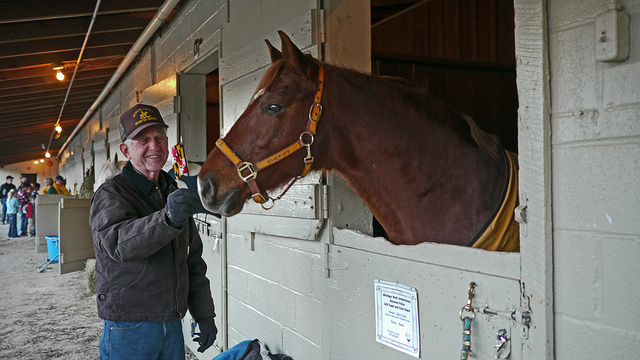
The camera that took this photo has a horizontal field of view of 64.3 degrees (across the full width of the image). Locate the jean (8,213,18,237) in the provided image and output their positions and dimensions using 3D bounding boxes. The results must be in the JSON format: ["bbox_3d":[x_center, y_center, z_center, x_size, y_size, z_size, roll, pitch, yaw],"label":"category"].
[{"bbox_3d":[-8.956,1.316,14.866,0.246,0.726,0.697,1,-1,-31],"label":"jean"}]

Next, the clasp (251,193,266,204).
[{"bbox_3d":[-0.452,0.138,3.741,0.087,0.035,0.063,16,-12,-20],"label":"clasp"}]

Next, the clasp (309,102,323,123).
[{"bbox_3d":[-0.023,-0.497,3.699,0.096,0.139,0.042,17,8,-9],"label":"clasp"}]

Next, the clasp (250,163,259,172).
[{"bbox_3d":[-0.469,-0.087,3.674,0.043,0.042,0.012,-13,4,26],"label":"clasp"}]

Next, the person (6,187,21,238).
[{"bbox_3d":[-9.019,0.992,15.035,0.344,1.381,1.032,2,-2,-32],"label":"person"}]

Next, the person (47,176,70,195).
[{"bbox_3d":[-7.114,0.226,13.871,0.276,0.734,0.553,-1,-1,-13],"label":"person"}]

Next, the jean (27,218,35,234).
[{"bbox_3d":[-8.714,1.389,15.393,0.133,0.476,0.592,2,-1,-32],"label":"jean"}]

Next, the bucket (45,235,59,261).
[{"bbox_3d":[-5.308,1.369,10.108,0.200,0.562,1.401,1,-1,-28],"label":"bucket"}]

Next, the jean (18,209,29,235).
[{"bbox_3d":[-9.153,1.280,15.731,0.289,0.780,0.859,1,-1,-30],"label":"jean"}]

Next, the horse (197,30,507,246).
[{"bbox_3d":[0.498,-0.224,3.992,2.723,1.319,0.938,8,-1,-20],"label":"horse"}]
